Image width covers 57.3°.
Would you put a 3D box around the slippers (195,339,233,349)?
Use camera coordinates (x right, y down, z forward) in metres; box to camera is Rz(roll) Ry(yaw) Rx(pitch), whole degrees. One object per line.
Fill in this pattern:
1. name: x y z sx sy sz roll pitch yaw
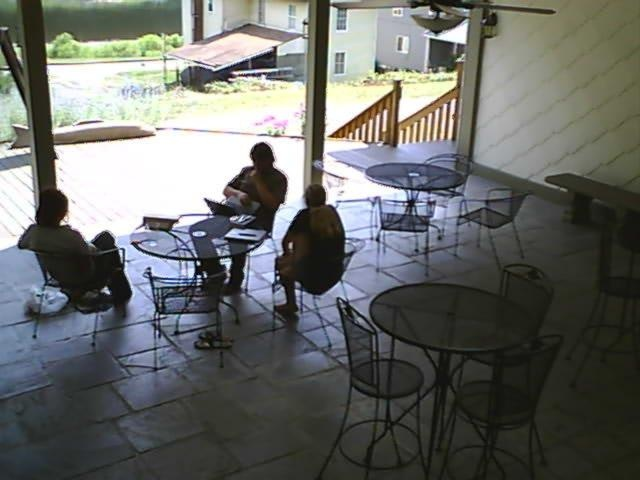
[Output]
1. slippers: -1.029 0.972 5.585 0.313 0.073 0.118 1 16 -8

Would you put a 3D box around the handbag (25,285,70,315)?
1. handbag: -2.926 0.652 6.233 0.469 0.184 0.443 2 10 -15

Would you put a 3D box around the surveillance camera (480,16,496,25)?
1. surveillance camera: 2.790 -3.613 9.659 0.235 0.208 0.117 5 31 15

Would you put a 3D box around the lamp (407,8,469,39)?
1. lamp: 1.148 -2.040 5.515 0.464 0.246 0.474 0 24 -2

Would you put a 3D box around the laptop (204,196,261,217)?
1. laptop: -0.946 -0.343 6.271 0.365 0.205 0.274 10 37 27
